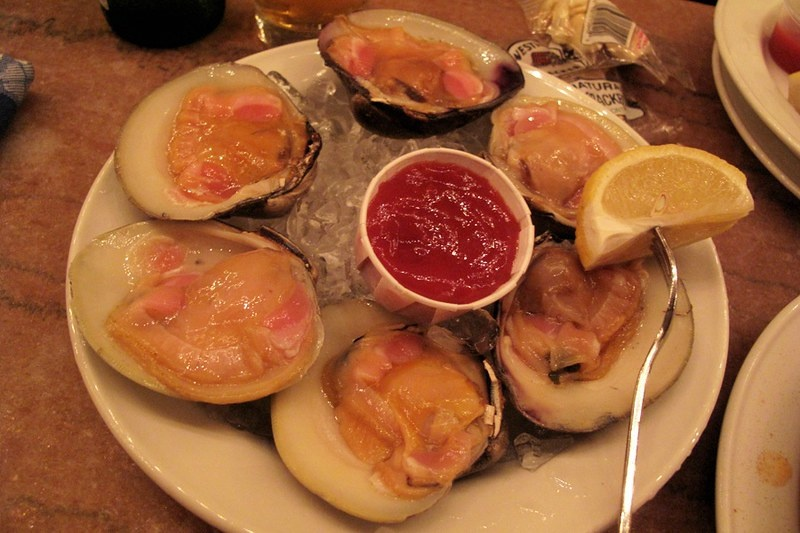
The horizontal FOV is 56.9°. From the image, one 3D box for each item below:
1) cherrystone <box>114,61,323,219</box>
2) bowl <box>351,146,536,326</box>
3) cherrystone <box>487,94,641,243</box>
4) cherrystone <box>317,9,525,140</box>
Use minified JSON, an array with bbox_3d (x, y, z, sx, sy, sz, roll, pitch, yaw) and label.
[{"bbox_3d":[-0.452,-0.308,1.942,0.440,0.170,0.416,-8,60,-5],"label":"cherrystone"},{"bbox_3d":[0.086,-0.031,2.039,0.443,0.319,0.454,3,78,-15],"label":"bowl"},{"bbox_3d":[0.427,-0.307,2.014,0.385,0.136,0.374,-16,58,-17],"label":"cherrystone"},{"bbox_3d":[0.051,-0.553,2.074,0.523,0.183,0.397,35,51,17],"label":"cherrystone"}]
